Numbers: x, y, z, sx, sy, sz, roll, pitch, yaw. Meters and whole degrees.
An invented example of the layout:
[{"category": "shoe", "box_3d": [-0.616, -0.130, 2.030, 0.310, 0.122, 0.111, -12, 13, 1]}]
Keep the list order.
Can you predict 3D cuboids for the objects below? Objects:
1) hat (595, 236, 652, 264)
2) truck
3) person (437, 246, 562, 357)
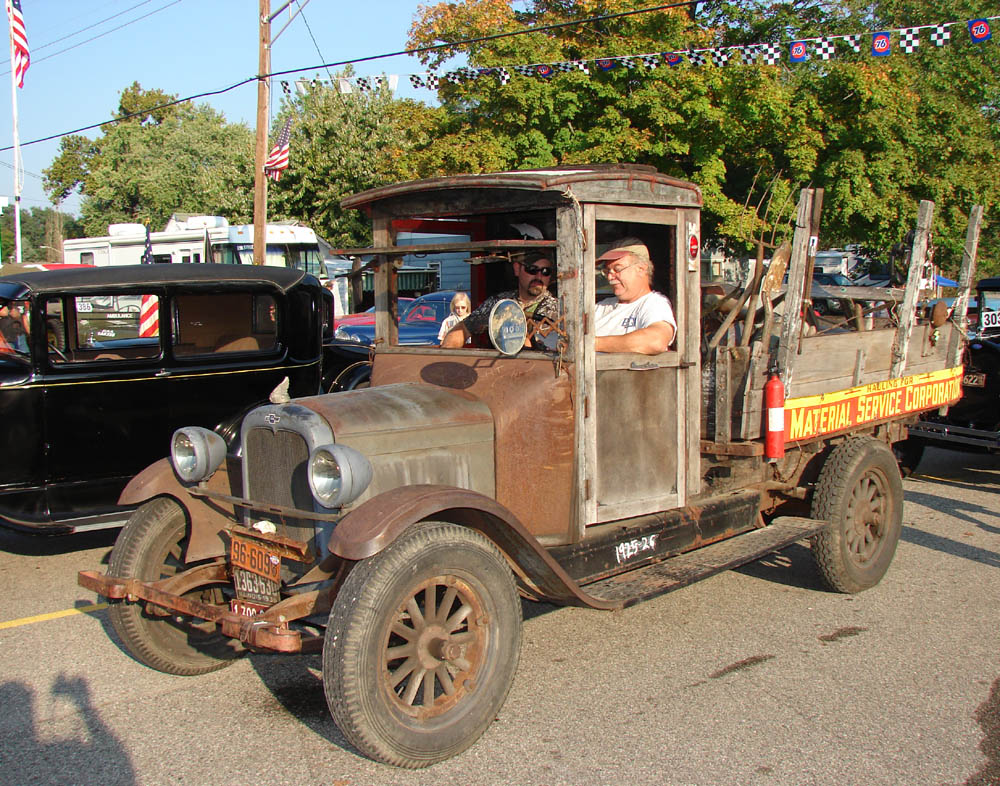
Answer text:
[{"category": "hat", "box_3d": [0.748, -0.856, 5.428, 0.278, 0.115, 0.180, 9, -7, -13]}, {"category": "truck", "box_3d": [0.389, 0.128, 6.445, 6.671, 2.628, 2.592, -2, 2, -41]}, {"category": "person", "box_3d": [0.096, -0.525, 5.229, 0.807, 0.350, 0.456, -7, 10, -24]}]
